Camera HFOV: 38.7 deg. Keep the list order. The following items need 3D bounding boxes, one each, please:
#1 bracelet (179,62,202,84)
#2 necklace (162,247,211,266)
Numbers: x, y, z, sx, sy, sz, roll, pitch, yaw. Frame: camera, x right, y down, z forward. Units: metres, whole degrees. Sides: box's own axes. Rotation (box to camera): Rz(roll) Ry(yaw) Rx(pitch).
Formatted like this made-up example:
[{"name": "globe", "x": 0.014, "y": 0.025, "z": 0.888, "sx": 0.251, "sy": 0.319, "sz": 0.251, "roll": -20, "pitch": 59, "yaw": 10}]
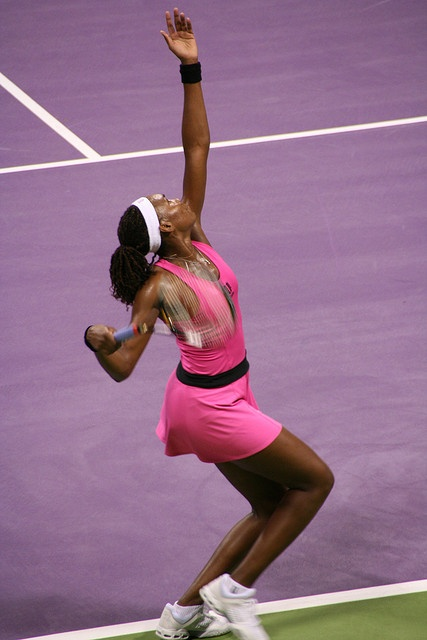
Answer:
[{"name": "bracelet", "x": -0.085, "y": -0.771, "z": 1.922, "sx": 0.081, "sy": 0.062, "sz": 0.071, "roll": -10, "pitch": 14, "yaw": -17}, {"name": "necklace", "x": -0.061, "y": -0.173, "z": 1.656, "sx": 0.079, "sy": 0.034, "sz": 0.054, "roll": 17, "pitch": 30, "yaw": 21}]
